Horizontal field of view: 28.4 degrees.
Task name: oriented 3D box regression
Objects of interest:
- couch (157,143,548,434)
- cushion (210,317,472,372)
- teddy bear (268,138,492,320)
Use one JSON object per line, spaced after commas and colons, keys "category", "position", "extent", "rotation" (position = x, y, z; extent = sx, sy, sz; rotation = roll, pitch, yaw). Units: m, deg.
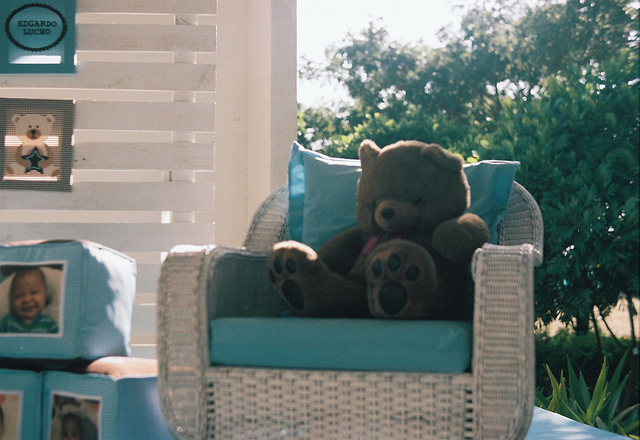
{"category": "couch", "position": [0.228, 0.247, 8.154], "extent": [2.211, 1.998, 1.804], "rotation": [0, -9, 10]}
{"category": "cushion", "position": [0.117, 0.764, 7.726], "extent": [1.604, 0.300, 0.092], "rotation": [1, -5, 6]}
{"category": "teddy bear", "position": [0.434, 0.097, 8.079], "extent": [1.303, 1.190, 1.066], "rotation": [-2, -2, 30]}
